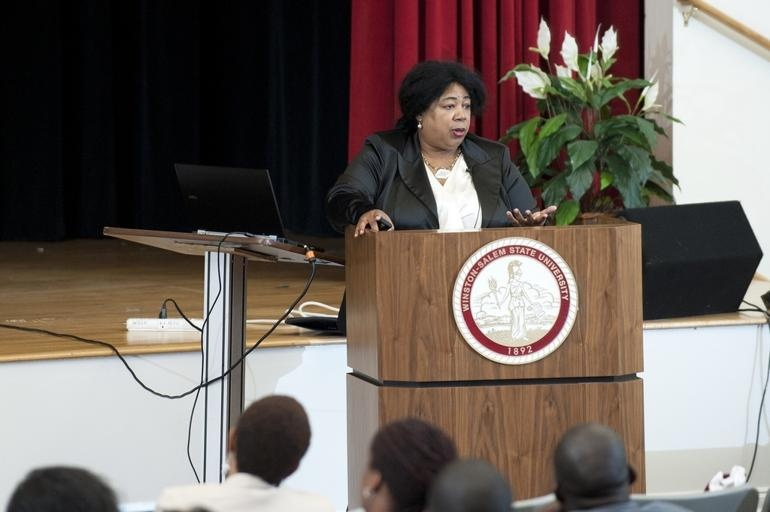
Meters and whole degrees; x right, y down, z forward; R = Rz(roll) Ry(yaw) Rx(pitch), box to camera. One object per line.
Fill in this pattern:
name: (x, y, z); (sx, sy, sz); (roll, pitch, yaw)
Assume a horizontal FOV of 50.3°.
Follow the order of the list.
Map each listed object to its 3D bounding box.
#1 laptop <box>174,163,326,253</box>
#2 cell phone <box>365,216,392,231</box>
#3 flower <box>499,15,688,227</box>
laptop: (-0.542, -0.227, 3.340); (0.518, 0.292, 0.547); (-2, 8, -39)
cell phone: (-0.017, -0.114, 2.853); (0.088, 0.055, 0.117); (0, -3, -2)
flower: (1.200, -0.643, 4.476); (0.938, 1.117, 0.878); (10, 22, 29)
